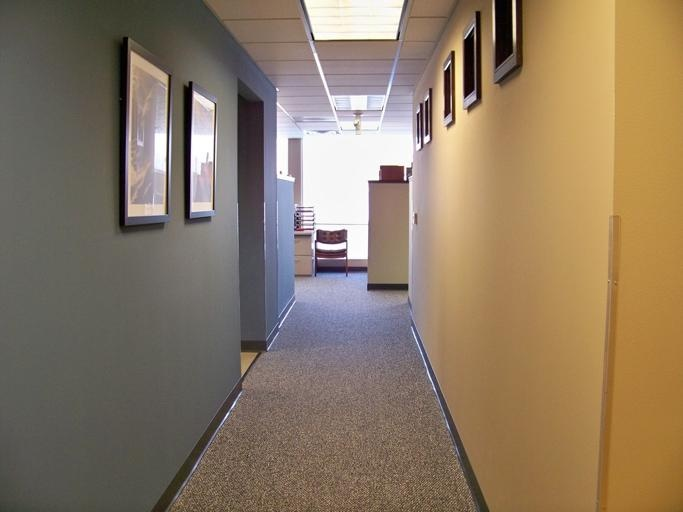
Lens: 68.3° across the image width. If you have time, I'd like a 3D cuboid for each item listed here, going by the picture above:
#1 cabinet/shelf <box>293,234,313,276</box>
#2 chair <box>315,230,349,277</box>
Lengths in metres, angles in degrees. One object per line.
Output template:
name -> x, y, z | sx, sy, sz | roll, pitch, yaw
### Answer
cabinet/shelf -> -0.654, -0.045, 8.825 | 0.301, 0.781, 0.438 | -1, 7, -7
chair -> -0.162, -0.084, 9.102 | 0.588, 0.832, 0.842 | 0, 7, 1
